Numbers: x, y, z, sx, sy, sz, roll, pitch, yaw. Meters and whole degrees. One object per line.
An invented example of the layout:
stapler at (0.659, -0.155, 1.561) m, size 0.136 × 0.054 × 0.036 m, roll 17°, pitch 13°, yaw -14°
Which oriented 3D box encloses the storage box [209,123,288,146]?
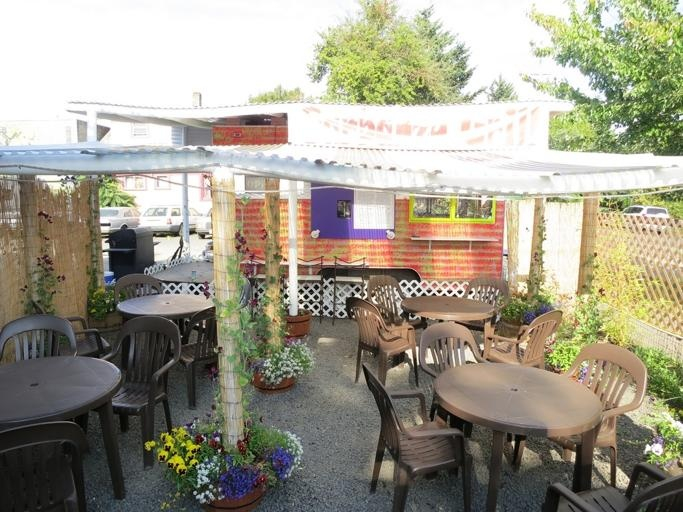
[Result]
storage box at (-1.993, -2.653, 11.513) m, size 1.582 × 0.425 × 0.211 m, roll 0°, pitch -4°, yaw -1°
